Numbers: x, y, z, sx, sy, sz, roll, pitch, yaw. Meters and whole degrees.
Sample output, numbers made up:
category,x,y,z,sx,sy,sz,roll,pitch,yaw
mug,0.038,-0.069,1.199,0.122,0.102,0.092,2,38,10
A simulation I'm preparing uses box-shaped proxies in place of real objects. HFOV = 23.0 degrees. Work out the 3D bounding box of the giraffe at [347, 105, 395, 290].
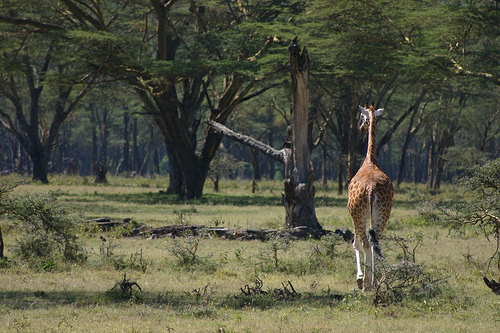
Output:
category,x,y,z,sx,sy,sz,roll,pitch,yaw
giraffe,5.896,1.350,60.861,2.014,8.383,6.596,1,13,5
